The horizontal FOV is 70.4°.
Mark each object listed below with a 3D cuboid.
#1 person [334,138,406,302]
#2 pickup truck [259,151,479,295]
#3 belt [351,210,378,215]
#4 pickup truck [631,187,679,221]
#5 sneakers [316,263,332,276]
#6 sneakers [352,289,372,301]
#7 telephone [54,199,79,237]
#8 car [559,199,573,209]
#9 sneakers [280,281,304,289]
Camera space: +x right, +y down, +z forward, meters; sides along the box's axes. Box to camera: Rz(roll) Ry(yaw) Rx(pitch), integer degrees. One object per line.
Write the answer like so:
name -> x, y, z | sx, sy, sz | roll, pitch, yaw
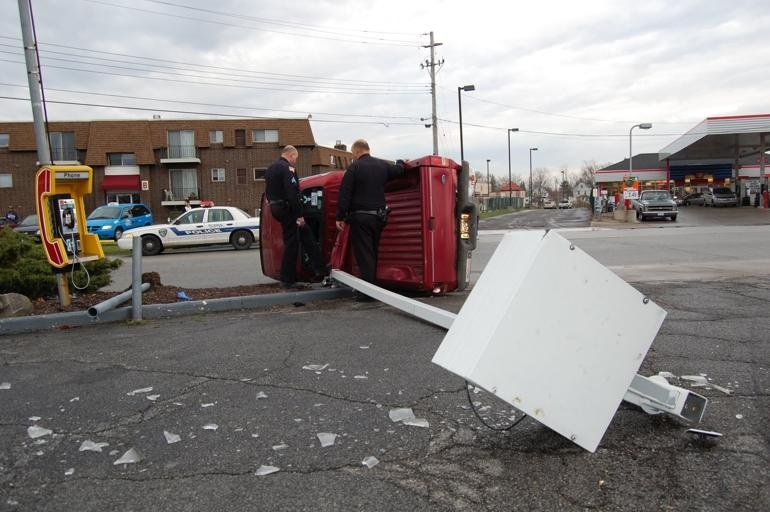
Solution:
person -> -0.235, -0.537, 8.034 | 0.935, 1.850, 0.527 | -3, 14, -5
pickup truck -> -0.257, -0.419, 8.375 | 4.867, 2.104, 1.502 | -3, -6, 38
belt -> -0.263, -0.641, 7.967 | 0.331, 0.076, 0.047 | -3, 14, -2
pickup truck -> 14.881, -2.851, 30.224 | 1.296, 1.163, 2.890 | -1, 2, 6
sneakers -> -0.953, 0.217, 8.521 | 0.172, 0.219, 0.180 | 9, -30, -34
sneakers -> -0.342, 0.612, 8.306 | 0.228, 0.105, 0.141 | 21, -3, 1
telephone -> -4.387, -0.541, 7.532 | 0.159, 0.529, 0.395 | -5, 14, -11
car -> 25.035, -7.133, 75.847 | 1.467, 1.041, 3.004 | -1, 3, 9
sneakers -> -1.582, 0.475, 8.968 | 0.207, 0.075, 0.278 | 0, 2, -40
